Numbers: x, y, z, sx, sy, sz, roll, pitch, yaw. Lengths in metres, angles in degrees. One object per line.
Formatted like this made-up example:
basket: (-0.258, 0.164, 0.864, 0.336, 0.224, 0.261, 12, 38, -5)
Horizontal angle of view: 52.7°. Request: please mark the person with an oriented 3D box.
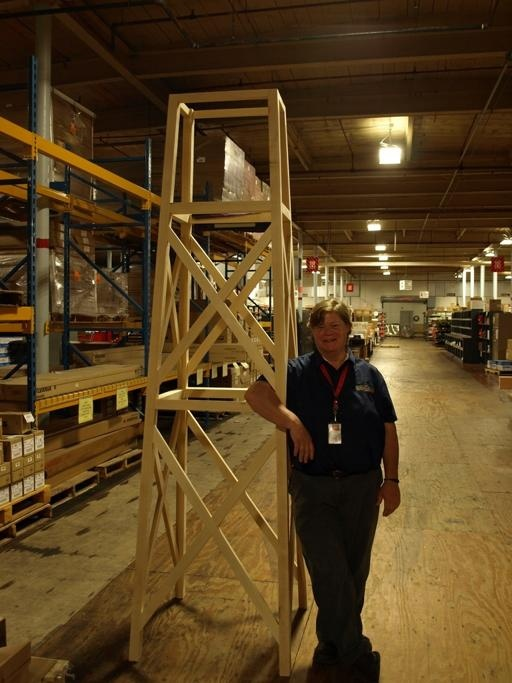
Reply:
person: (0.278, 0.587, 2.138, 0.600, 1.522, 0.372, -1, -1, 13)
